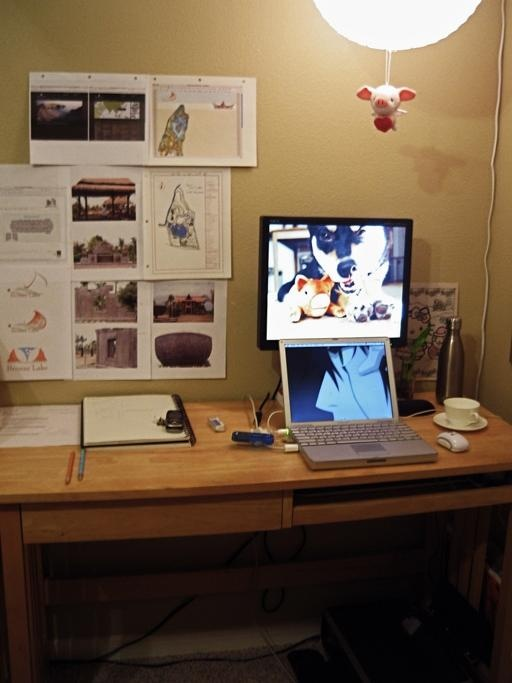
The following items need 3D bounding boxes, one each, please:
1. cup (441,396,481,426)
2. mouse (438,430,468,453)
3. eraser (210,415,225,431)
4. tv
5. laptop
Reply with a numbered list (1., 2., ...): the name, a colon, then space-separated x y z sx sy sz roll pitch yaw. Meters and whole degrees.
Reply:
1. cup: 0.522 0.168 1.506 0.069 0.047 0.078 1 15 -3
2. mouse: 0.451 0.230 1.357 0.036 0.023 0.060 1 15 -17
3. eraser: -0.103 0.206 1.480 0.023 0.012 0.043 -3 15 -12
4. tv: 0.193 -0.161 1.545 0.375 0.298 0.037 -2 16 -12
5. laptop: 0.236 0.107 1.402 0.284 0.201 0.309 -3 17 -16
